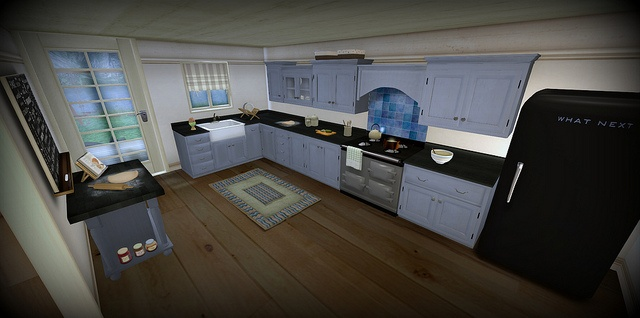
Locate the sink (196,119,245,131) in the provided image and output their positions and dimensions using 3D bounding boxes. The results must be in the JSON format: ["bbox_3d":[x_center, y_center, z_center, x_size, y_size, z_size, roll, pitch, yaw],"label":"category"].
[{"bbox_3d":[-2.494,-0.864,7.564,0.963,0.173,0.667,-12,21,-36],"label":"sink"}]
